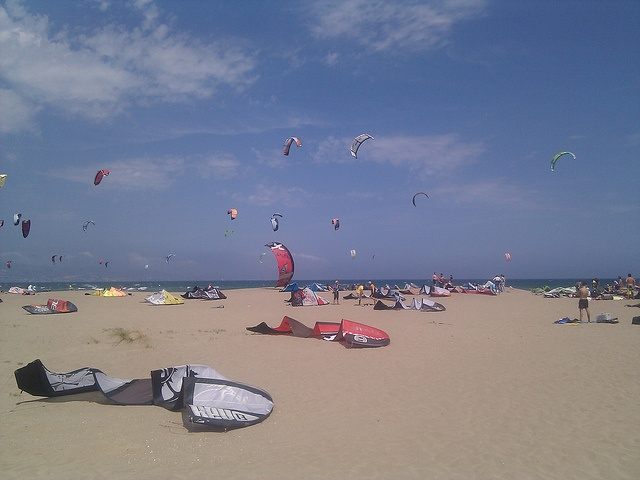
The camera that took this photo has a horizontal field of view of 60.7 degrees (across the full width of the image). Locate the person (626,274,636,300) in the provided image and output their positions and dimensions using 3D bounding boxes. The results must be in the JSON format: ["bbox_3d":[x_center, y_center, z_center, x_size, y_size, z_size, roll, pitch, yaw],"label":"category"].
[{"bbox_3d":[15.861,2.348,27.923,0.354,1.155,2.792,0,-1,29],"label":"person"}]

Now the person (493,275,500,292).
[{"bbox_3d":[11.660,2.944,36.011,0.333,1.065,2.508,0,-1,17],"label":"person"}]

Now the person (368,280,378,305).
[{"bbox_3d":[2.865,2.906,29.980,0.595,1.689,1.206,0,-3,13],"label":"person"}]
